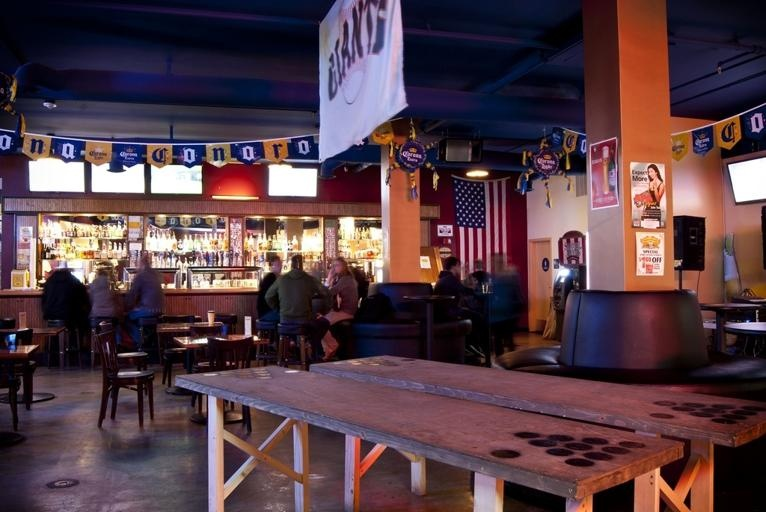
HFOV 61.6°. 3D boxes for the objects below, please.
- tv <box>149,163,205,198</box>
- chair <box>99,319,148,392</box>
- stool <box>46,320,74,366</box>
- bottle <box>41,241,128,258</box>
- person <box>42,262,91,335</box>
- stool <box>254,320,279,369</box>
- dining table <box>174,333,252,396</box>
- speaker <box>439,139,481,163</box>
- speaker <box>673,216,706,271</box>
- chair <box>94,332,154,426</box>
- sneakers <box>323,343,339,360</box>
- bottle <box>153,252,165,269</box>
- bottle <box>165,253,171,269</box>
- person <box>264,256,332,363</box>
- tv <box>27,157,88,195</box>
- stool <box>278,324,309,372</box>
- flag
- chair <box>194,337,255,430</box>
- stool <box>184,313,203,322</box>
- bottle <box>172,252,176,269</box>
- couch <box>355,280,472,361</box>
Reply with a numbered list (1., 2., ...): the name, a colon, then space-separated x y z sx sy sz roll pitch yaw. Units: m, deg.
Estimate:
1. tv: -4.231 -1.575 13.276 1.036 0.528 0.135 -1 0 -20
2. chair: -3.296 1.229 8.225 0.530 0.638 0.538 -7 4 41
3. stool: -5.457 1.510 10.783 0.425 0.576 0.432 -14 -7 35
4. bottle: -5.963 -0.135 12.961 1.582 0.322 0.342 -2 0 -3
5. person: -5.426 0.655 11.004 0.750 0.977 0.730 8 8 14
6. stool: -1.739 1.335 9.960 0.321 0.486 0.312 14 -3 -12
7. dining table: -2.187 1.398 8.081 0.974 0.686 0.759 1 -2 -30
8. speaker: 1.379 -1.879 11.389 0.793 0.479 0.402 0 0 -15
9. speaker: 4.454 -0.205 9.329 0.423 0.840 0.357 -2 0 12
10. chair: -3.037 1.433 7.675 0.655 1.028 0.672 -1 -3 0
11. sneakers: -0.742 1.388 9.406 0.249 0.222 0.198 2 -3 12
12. bottle: -4.439 0.077 12.869 0.328 0.296 0.082 -1 -9 0
13. bottle: -4.227 0.051 12.822 0.130 0.265 0.184 -2 0 -20
14. person: -1.205 0.758 9.305 0.789 1.536 0.917 -3 1 40
15. tv: -6.425 -1.577 12.638 0.786 0.508 0.055 0 -4 -10
16. stool: -1.232 1.199 8.630 0.514 0.550 0.483 2 -10 -20
17. flag: 2.391 -0.777 15.376 1.193 2.339 1.914 -2 0 11
18. chair: -1.843 1.375 7.505 0.635 0.930 0.661 6 1 -42
19. stool: -3.155 1.041 10.863 0.190 0.156 0.200 -2 -5 30
20. bottle: -4.157 0.051 12.855 0.090 0.267 0.250 -2 0 -19
21. couch: 0.350 1.005 9.286 1.364 1.122 1.270 3 -12 -13
